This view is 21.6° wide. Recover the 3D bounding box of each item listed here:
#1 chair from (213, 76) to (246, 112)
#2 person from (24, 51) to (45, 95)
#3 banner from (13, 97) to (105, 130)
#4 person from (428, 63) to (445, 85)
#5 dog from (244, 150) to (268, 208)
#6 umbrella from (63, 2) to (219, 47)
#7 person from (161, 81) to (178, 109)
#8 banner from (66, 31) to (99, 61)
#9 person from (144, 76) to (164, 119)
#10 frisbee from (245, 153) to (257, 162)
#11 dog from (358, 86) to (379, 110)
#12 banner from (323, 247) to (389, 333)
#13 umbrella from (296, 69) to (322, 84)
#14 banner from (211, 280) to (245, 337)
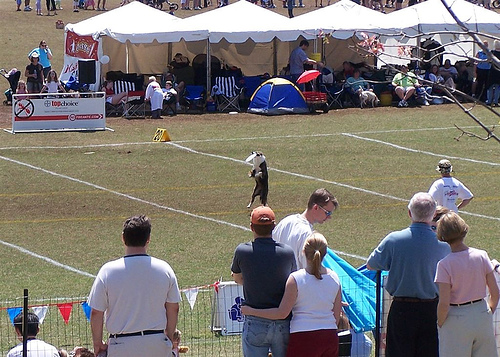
[{"bbox_3d":[-0.831,-3.512,54.462,1.225,1.388,0.863,0,5,2],"label":"chair"},{"bbox_3d":[-8.772,-4.050,54.073,0.784,2.305,0.686,-2,8,-13],"label":"person"},{"bbox_3d":[-7.102,-2.422,49.124,3.369,1.195,0.307,-1,5,-14],"label":"banner"},{"bbox_3d":[7.898,-4.435,55.059,0.703,0.760,1.795,1,6,8],"label":"person"},{"bbox_3d":[0.257,0.061,39.793,0.539,1.822,0.827,19,40,28],"label":"dog"},{"bbox_3d":[-4.599,-6.431,53.963,5.175,1.591,3.121,-1,6,-9],"label":"umbrella"},{"bbox_3d":[-3.190,-3.424,53.350,0.639,1.126,1.483,0,5,-4],"label":"person"},{"bbox_3d":[-6.784,-5.529,53.833,2.229,1.384,0.283,10,12,41],"label":"banner"},{"bbox_3d":[-3.779,-3.249,52.493,0.765,1.661,0.870,0,5,-4],"label":"person"},{"bbox_3d":[0.069,-0.611,39.233,0.259,0.061,0.172,-30,-17,9],"label":"frisbee"},{"bbox_3d":[4.966,-3.378,54.371,0.842,0.905,0.795,1,5,8],"label":"dog"},{"bbox_3d":[2.650,2.850,32.367,1.958,1.955,0.782,1,-5,-18],"label":"banner"},{"bbox_3d":[2.418,-4.124,52.616,0.904,0.523,1.260,0,5,2],"label":"umbrella"},{"bbox_3d":[-0.427,3.379,33.446,0.711,1.250,1.288,4,0,40],"label":"banner"}]
